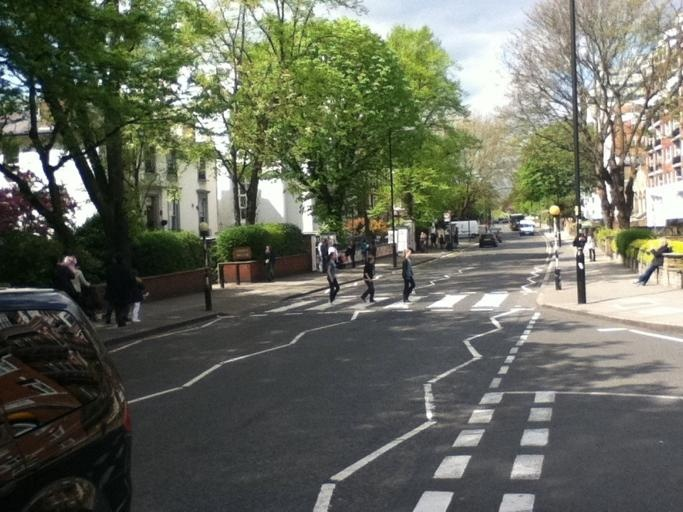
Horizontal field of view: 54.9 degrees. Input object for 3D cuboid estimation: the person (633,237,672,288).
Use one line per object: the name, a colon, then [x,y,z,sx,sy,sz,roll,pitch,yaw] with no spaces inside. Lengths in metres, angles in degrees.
person: [11.443,0.233,24.175,1.019,1.641,2.245,-3,4,11]

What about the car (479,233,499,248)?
car: [14.491,-1.596,65.074,1.667,1.466,2.137,-3,4,10]

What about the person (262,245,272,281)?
person: [-4.024,0.348,36.321,0.463,1.948,1.557,-4,4,-9]

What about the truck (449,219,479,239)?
truck: [16.231,-3.299,90.517,4.113,2.480,3.182,1,5,19]

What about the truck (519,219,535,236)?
truck: [27.998,-4.336,99.220,1.996,2.298,3.885,-2,4,22]
